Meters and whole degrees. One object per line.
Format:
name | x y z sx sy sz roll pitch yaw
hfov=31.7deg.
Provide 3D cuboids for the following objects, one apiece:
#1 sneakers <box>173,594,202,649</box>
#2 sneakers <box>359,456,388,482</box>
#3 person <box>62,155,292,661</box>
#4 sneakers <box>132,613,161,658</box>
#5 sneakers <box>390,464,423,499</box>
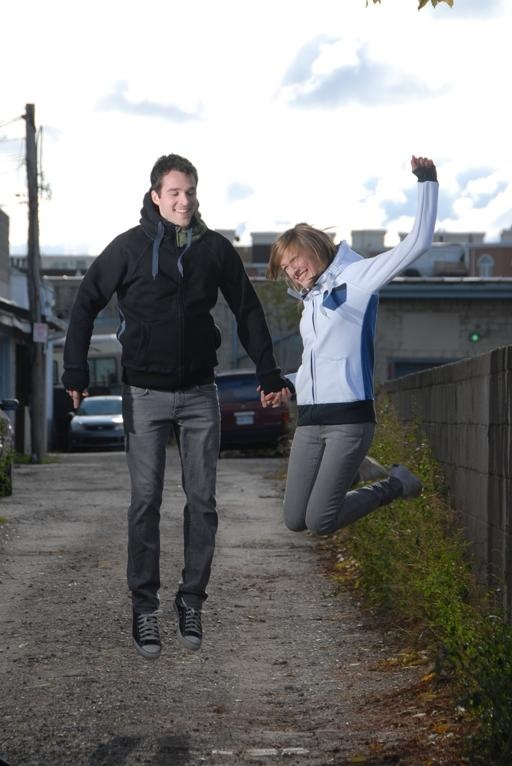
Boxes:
sneakers | -0.295 1.046 3.987 0.080 0.096 0.255 4 35 -23
sneakers | 0.683 0.503 5.325 0.110 0.125 0.312 -7 -12 9
person | -0.352 0.091 4.082 0.958 2.244 0.450 -3 2 -33
sneakers | -0.474 1.073 3.870 0.102 0.169 0.213 -2 2 -12
sneakers | 0.844 0.557 5.088 0.134 0.212 0.084 -33 -27 -6
